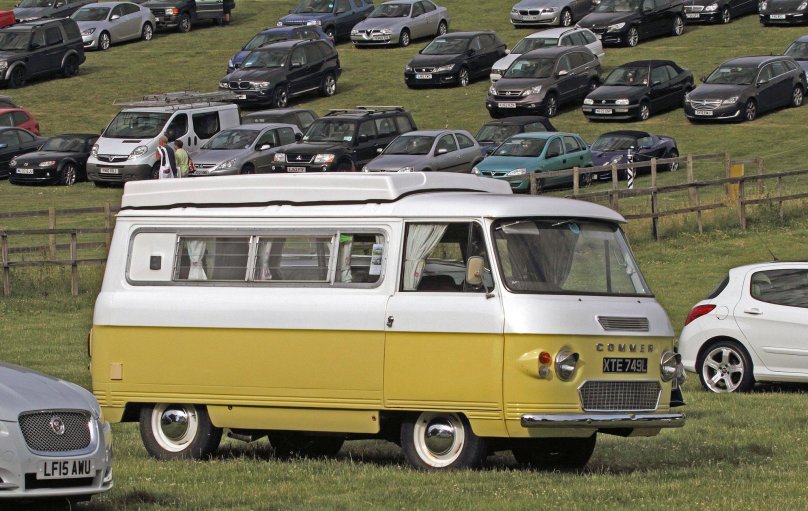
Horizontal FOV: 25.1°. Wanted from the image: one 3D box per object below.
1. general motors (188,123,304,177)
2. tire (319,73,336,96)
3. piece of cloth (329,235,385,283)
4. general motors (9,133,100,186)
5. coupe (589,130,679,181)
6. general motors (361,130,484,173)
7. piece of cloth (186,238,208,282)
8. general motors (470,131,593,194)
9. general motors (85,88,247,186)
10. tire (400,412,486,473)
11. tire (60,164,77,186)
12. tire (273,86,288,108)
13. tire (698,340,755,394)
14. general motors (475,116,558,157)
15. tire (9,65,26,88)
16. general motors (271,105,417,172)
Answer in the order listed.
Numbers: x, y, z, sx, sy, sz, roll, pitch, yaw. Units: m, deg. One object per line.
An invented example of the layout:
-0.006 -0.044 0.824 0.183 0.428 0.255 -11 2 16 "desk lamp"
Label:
-5.149 -3.351 57.097 2.018 1.482 3.428 0 1 27 "general motors"
-2.929 -6.514 68.062 0.278 0.831 0.844 1 4 29 "tire"
-0.902 0.072 35.529 1.024 0.933 0.239 4 -3 13 "piece of cloth"
-11.168 -3.038 57.627 1.503 1.034 2.608 3 5 30 "general motors"
6.730 -3.186 56.557 3.433 1.259 2.306 -12 18 -41 "coupe"
0.444 -3.199 55.671 1.807 1.468 3.381 -1 -1 43 "general motors"
-4.143 0.104 36.185 0.392 0.767 0.361 0 14 -1 "piece of cloth"
3.833 -2.950 55.122 1.898 1.361 3.197 -1 0 37 "general motors"
-7.665 -3.902 58.732 2.611 2.643 5.280 -2 1 31 "general motors"
0.808 3.658 35.145 1.168 1.151 0.460 -2 -5 10 "tire"
-10.690 -2.600 57.493 0.262 0.621 0.631 7 -2 31 "tire"
-4.539 -5.786 65.488 0.258 0.708 0.719 5 15 30 "tire"
7.062 2.429 39.734 0.998 0.988 0.359 15 12 27 "tire"
3.387 -4.078 58.455 1.285 1.088 2.257 -3 3 31 "general motors"
-14.863 -6.914 69.521 0.429 0.902 0.955 9 16 32 "tire"
-2.013 -3.686 57.547 2.385 1.962 4.052 1 4 38 "general motors"
